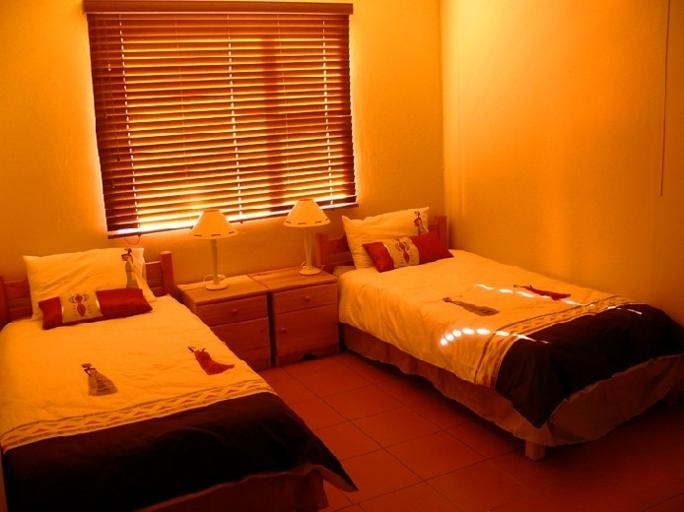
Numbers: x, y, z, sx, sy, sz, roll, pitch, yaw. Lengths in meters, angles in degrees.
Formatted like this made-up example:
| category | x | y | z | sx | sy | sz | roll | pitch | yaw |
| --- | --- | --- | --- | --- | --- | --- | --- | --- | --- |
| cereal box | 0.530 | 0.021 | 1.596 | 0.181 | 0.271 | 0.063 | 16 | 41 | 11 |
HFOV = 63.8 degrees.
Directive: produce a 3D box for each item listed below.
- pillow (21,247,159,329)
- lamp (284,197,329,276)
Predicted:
| category | x | y | z | sx | sy | sz | roll | pitch | yaw |
| --- | --- | --- | --- | --- | --- | --- | --- | --- | --- |
| pillow | -1.858 | 0.132 | 4.007 | 0.747 | 0.540 | 0.207 | -8 | -27 | -26 |
| lamp | -0.296 | -0.159 | 4.722 | 0.406 | 0.628 | 0.392 | -6 | 12 | -15 |
